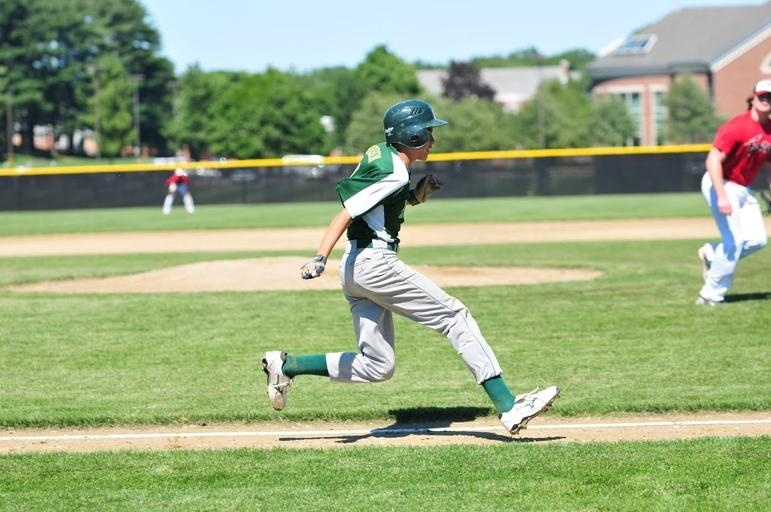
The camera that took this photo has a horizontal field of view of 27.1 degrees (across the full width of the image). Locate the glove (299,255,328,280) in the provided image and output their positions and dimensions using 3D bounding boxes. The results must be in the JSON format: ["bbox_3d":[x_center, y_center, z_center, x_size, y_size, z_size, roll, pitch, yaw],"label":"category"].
[{"bbox_3d":[-1.020,0.162,23.822,0.315,0.178,0.369,-45,8,45],"label":"glove"}]

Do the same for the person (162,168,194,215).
[{"bbox_3d":[-4.494,-1.417,34.280,0.508,0.940,1.058,-2,4,9],"label":"person"}]
